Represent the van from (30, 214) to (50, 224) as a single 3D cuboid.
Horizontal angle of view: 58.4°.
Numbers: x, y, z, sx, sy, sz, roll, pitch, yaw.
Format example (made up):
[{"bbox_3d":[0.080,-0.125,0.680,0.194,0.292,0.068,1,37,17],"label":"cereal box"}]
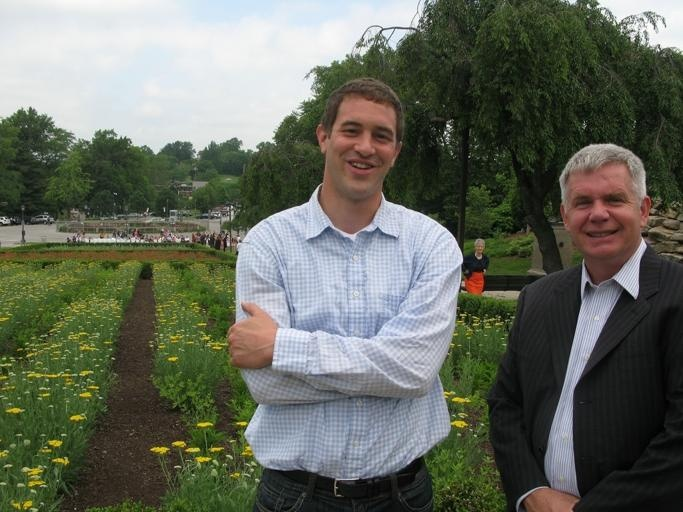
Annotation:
[{"bbox_3d":[-46.902,-5.699,94.352,2.258,1.283,1.374,9,7,15],"label":"van"}]
